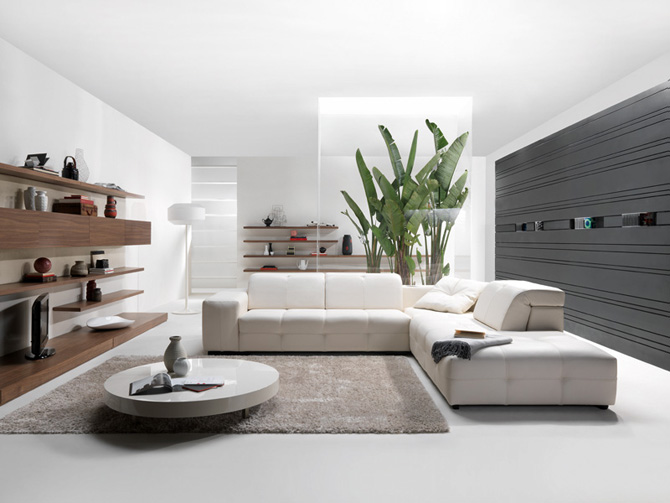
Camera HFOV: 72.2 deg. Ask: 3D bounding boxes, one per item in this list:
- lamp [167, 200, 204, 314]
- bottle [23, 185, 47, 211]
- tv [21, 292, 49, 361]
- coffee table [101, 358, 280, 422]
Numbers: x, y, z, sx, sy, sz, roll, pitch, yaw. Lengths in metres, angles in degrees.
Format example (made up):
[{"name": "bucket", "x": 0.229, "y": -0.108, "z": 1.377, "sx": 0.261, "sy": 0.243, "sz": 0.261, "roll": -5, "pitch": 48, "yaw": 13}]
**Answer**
[{"name": "lamp", "x": -2.440, "y": 0.056, "z": 7.675, "sx": 0.560, "sy": 1.853, "sz": 2.482, "roll": -3, "pitch": 12, "yaw": -17}, {"name": "bottle", "x": -2.785, "y": -0.509, "z": 4.275, "sx": 0.176, "sy": 0.212, "sz": 0.124, "roll": -5, "pitch": 12, "yaw": -24}, {"name": "tv", "x": -2.645, "y": 0.653, "z": 4.101, "sx": 0.201, "sy": 0.526, "sz": 0.396, "roll": -7, "pitch": 13, "yaw": -33}, {"name": "coffee table", "x": -0.874, "y": 0.930, "z": 3.214, "sx": 0.651, "sy": 0.146, "sz": 0.641, "roll": 0, "pitch": 2, "yaw": -6}]
